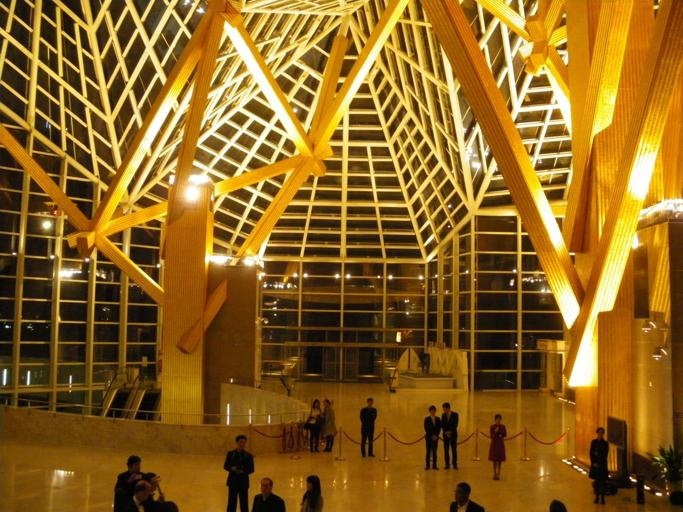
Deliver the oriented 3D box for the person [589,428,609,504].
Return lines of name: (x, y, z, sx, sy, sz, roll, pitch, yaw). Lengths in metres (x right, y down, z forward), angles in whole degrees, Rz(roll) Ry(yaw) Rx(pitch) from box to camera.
person: (6.438, 5.206, 15.196, 0.463, 1.779, 0.795, -6, -18, 21)
